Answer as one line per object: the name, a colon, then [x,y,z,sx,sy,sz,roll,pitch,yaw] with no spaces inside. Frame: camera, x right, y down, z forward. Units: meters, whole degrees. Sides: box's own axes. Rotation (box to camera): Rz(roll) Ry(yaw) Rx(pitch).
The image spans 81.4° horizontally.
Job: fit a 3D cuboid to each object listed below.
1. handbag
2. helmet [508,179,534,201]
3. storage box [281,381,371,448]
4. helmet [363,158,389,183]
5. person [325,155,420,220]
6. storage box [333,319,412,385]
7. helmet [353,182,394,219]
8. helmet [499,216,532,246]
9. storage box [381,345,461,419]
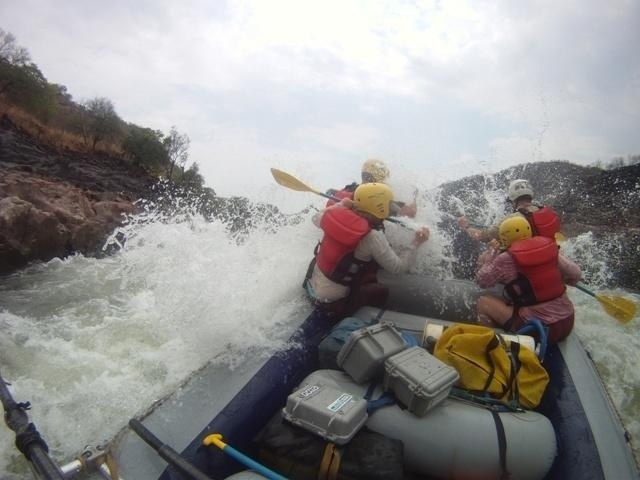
handbag: [1.190,0.968,2.678,0.711,0.355,0.532,23,35,-4]
helmet: [2.142,-0.528,4.033,0.196,0.216,0.276,-10,-16,11]
storage box: [0.028,1.096,2.389,0.475,0.205,0.406,7,8,32]
helmet: [0.630,-0.791,4.398,0.366,0.363,0.293,0,5,4]
person: [0.591,-0.599,4.260,0.993,0.532,0.714,1,8,-2]
storage box: [0.402,0.800,2.748,0.480,0.349,0.283,-6,39,-48]
helmet: [0.472,-0.360,3.328,0.352,0.286,0.256,-2,17,-5]
helmet: [1.678,-0.111,3.339,0.211,0.276,0.293,4,20,0]
storage box: [0.654,0.887,2.455,0.348,0.231,0.407,-12,25,-44]
